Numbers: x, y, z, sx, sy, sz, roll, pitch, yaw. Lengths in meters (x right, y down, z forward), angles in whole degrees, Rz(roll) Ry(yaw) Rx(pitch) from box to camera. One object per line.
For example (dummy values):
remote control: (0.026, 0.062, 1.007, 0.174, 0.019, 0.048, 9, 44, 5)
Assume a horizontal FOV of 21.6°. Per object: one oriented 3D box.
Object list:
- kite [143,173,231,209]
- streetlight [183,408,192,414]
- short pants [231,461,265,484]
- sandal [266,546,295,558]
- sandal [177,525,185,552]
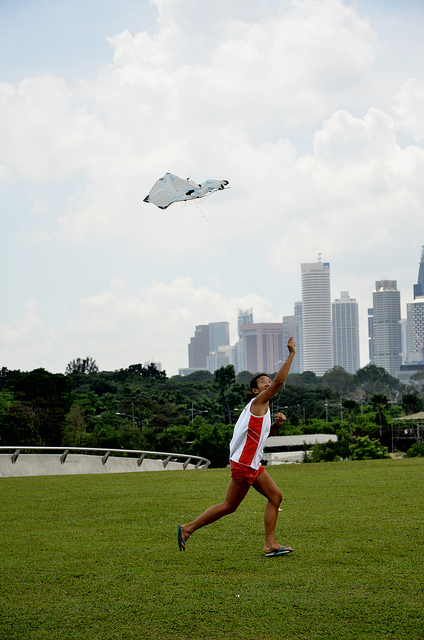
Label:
kite: (-0.440, -1.734, 15.178, 1.064, 0.598, 0.606, 4, -8, -38)
streetlight: (-1.891, 6.808, 82.511, 0.690, 0.603, 0.211, -10, -31, 6)
short pants: (0.310, 1.363, 9.882, 0.246, 0.117, 0.189, 1, -3, 44)
sandal: (0.592, 2.061, 9.879, 0.193, 0.050, 0.065, -15, 5, 1)
sandal: (-0.308, 1.963, 9.954, 0.094, 0.223, 0.085, -7, 3, 7)
